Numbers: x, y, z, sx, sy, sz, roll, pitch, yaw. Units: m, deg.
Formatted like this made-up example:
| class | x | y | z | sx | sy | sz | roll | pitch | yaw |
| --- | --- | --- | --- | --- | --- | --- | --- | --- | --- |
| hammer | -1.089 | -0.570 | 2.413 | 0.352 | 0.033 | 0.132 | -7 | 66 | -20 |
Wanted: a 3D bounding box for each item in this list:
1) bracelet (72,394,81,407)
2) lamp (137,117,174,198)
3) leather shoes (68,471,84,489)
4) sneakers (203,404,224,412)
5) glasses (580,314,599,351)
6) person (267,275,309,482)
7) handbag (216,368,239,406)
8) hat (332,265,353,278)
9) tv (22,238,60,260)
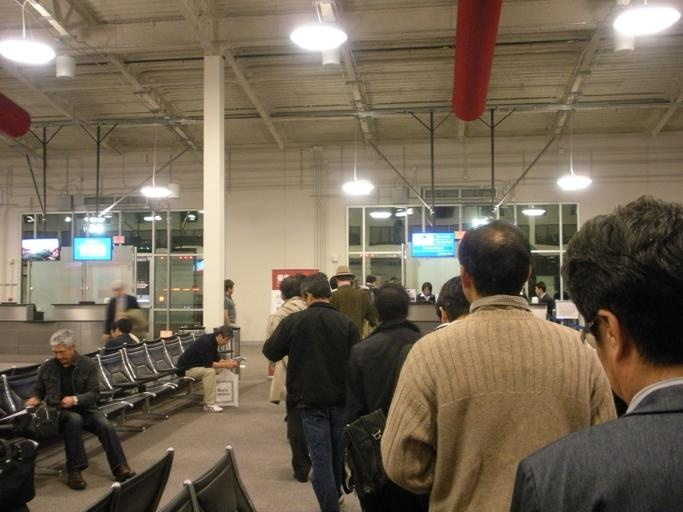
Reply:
| class | x | y | z | sx | sy | sz | roll | pitch | yaw |
| --- | --- | --- | --- | --- | --- | --- | --- | --- | --- |
| bracelet | -2.183 | 1.220 | 5.242 | 0.069 | 0.064 | 0.070 | 3 | -4 | -2 |
| lamp | -4.055 | -1.993 | 13.935 | 0.631 | 1.762 | 3.398 | -2 | -2 | -17 |
| leather shoes | -2.070 | 1.782 | 4.984 | 0.127 | 0.119 | 0.096 | -2 | -2 | -13 |
| sneakers | -1.545 | 1.853 | 7.653 | 0.239 | 0.097 | 0.088 | 1 | -4 | 14 |
| glasses | 0.664 | 0.212 | 1.716 | 0.023 | 0.089 | 0.085 | -6 | 7 | 20 |
| person | -0.516 | 1.180 | 5.948 | 0.468 | 1.918 | 0.553 | 6 | 11 | 14 |
| handbag | -1.464 | 1.649 | 7.999 | 0.357 | 0.480 | 0.359 | -1 | -6 | 0 |
| hat | -0.013 | 0.243 | 9.139 | 0.258 | 0.115 | 0.294 | 1 | -19 | -2 |
| tv | -6.629 | -0.116 | 14.012 | 0.830 | 0.463 | 0.407 | -2 | -2 | -12 |
